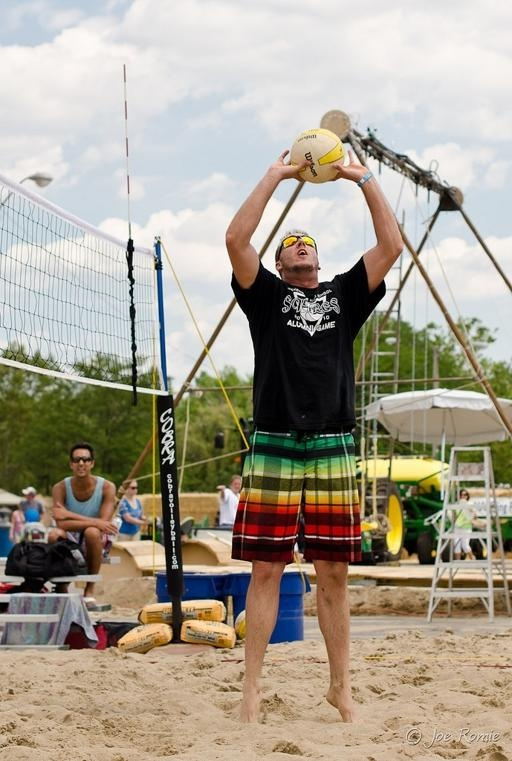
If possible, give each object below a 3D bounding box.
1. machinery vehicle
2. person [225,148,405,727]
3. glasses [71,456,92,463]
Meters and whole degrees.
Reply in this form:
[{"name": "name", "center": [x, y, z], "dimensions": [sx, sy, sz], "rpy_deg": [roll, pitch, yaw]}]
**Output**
[{"name": "machinery vehicle", "center": [1.871, 1.680, 13.416], "dimensions": [1.425, 1.327, 2.722], "rpy_deg": [-4, -9, 34]}, {"name": "person", "center": [0.137, 0.177, 3.916], "dimensions": [0.535, 2.195, 0.317], "rpy_deg": [1, -4, -5]}, {"name": "glasses", "center": [-1.138, 0.515, 6.684], "dimensions": [0.055, 0.049, 0.153], "rpy_deg": [-2, -5, 37]}]
